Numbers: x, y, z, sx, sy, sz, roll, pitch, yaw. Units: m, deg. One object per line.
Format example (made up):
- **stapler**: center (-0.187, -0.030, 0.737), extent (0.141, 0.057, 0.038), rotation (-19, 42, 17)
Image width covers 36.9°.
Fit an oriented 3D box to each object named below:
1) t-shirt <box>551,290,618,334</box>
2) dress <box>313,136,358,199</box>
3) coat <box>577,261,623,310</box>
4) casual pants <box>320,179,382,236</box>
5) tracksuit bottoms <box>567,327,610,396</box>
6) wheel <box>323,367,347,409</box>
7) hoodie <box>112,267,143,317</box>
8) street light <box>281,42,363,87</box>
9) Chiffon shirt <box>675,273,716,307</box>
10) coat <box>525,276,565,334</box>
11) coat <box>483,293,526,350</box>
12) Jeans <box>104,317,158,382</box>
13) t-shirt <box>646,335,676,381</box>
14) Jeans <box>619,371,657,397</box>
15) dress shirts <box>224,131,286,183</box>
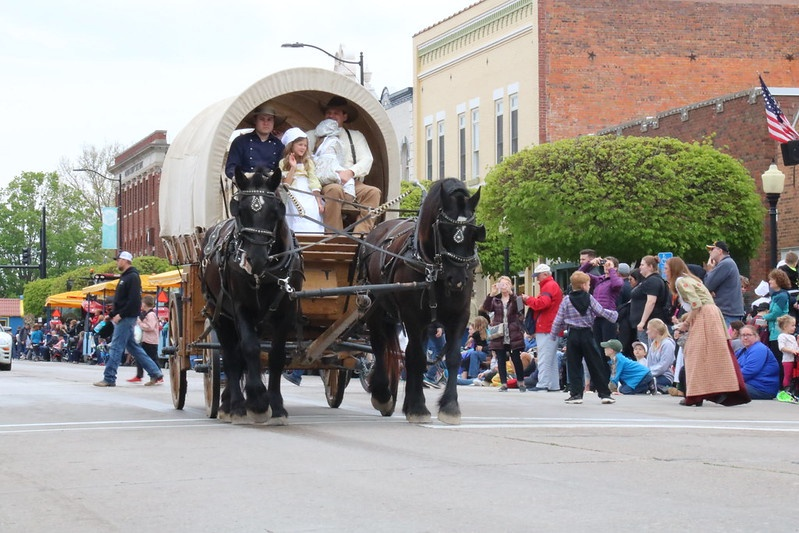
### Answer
- **t-shirt**: center (2.898, 0.715, 19.244), extent (1.222, 0.579, 0.455), rotation (-7, 1, 22)
- **dress**: center (-0.937, -1.488, 17.147), extent (0.708, 0.786, 0.299), rotation (11, -19, -33)
- **coat**: center (3.594, 0.350, 21.489), extent (0.489, 0.725, 0.545), rotation (29, -46, -35)
- **casual pants**: center (-0.674, -0.857, 16.973), extent (0.764, 0.852, 0.741), rotation (2, -5, -17)
- **tracksuit bottoms**: center (2.991, 1.563, 19.142), extent (0.683, 1.285, 0.343), rotation (-3, -18, -5)
- **wheel**: center (-0.973, 1.793, 17.932), extent (0.218, 0.778, 0.741), rotation (-1, 5, -23)
- **hoodie**: center (-5.193, 0.486, 22.693), extent (0.597, 1.041, 0.788), rotation (3, -3, -28)
- **street light**: center (-2.450, -6.599, 38.837), extent (2.657, 1.356, 0.234), rotation (9, -36, -18)
- **Chiffon shirt**: center (4.605, 0.354, 18.627), extent (0.291, 0.470, 0.522), rotation (-28, -12, 32)
- **coat**: center (2.663, 0.704, 22.644), extent (0.809, 1.090, 0.859), rotation (3, 1, 3)
- **coat**: center (1.995, 1.059, 23.102), extent (0.891, 1.059, 0.626), rotation (1, -3, -13)
- **Jeans**: center (-5.148, 1.470, 22.808), extent (1.262, 1.472, 0.553), rotation (2, -6, -35)
- **t-shirt**: center (4.648, 1.649, 21.388), extent (0.507, 0.762, 0.643), rotation (2, -3, -18)
- **Jeans**: center (4.240, 2.093, 21.218), extent (0.574, 0.325, 0.318), rotation (-5, -4, 10)
- **dress shirts**: center (-2.017, -1.630, 17.161), extent (0.937, 0.700, 0.455), rotation (-2, -1, -20)
